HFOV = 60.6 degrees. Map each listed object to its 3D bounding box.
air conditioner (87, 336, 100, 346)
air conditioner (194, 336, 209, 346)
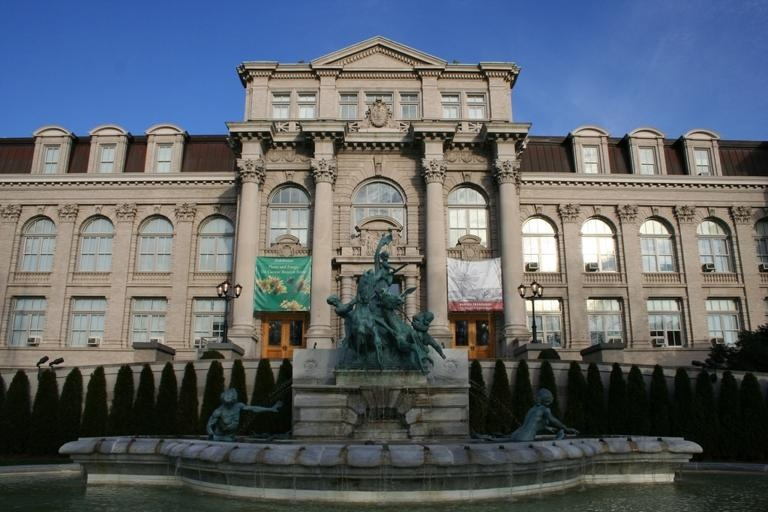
[{"bbox_3d":[-18.838,5.498,42.511,0.689,0.364,0.625,0,-3,0],"label":"air conditioner"},{"bbox_3d":[-11.716,5.350,41.867,0.878,0.724,0.599,0,-16,-3],"label":"air conditioner"}]
